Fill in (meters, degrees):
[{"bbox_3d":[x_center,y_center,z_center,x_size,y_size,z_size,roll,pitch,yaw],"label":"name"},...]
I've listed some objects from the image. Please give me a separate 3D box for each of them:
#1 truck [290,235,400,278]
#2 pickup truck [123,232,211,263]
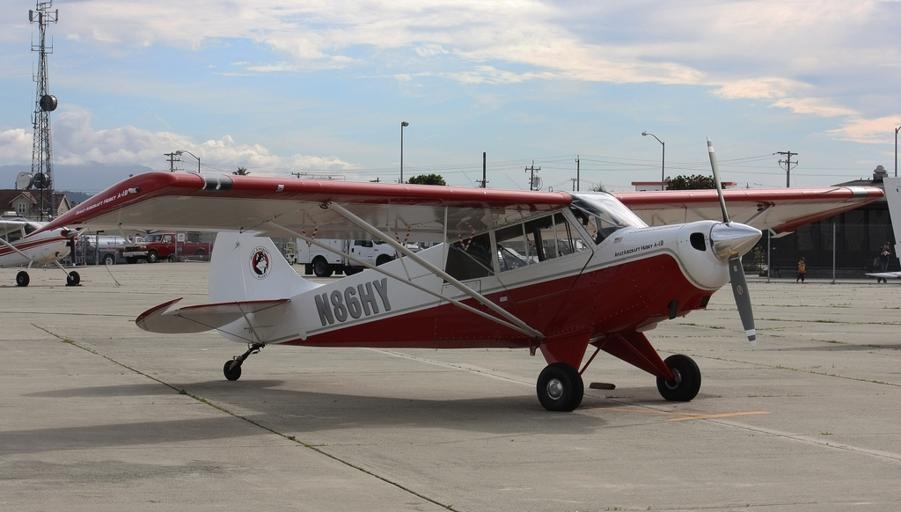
[{"bbox_3d":[-4.729,0.147,44.315,6.974,1.640,2.259,-2,-2,15],"label":"truck"},{"bbox_3d":[-19.603,-0.398,62.380,2.996,1.424,6.940,-3,-1,45],"label":"pickup truck"}]
